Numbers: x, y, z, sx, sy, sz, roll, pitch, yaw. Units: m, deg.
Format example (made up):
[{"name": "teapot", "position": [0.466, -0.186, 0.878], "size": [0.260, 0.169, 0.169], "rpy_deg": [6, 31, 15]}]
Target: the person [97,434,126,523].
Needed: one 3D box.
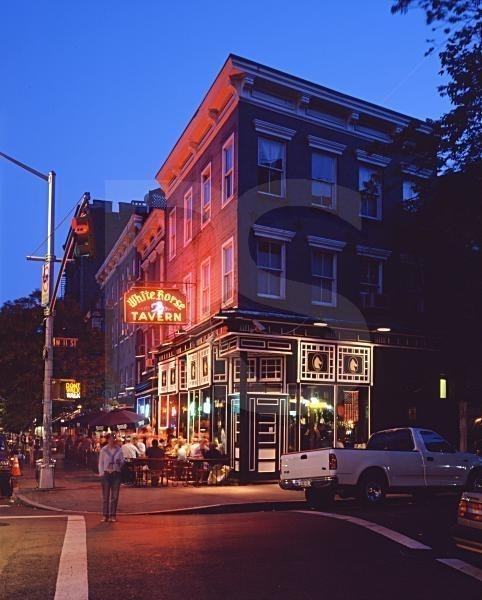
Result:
[{"name": "person", "position": [-2.480, 3.350, 16.837], "size": [0.466, 1.685, 1.554], "rpy_deg": [2, -13, -8]}]

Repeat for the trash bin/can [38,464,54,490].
[{"name": "trash bin/can", "position": [-5.400, 4.921, 24.714], "size": [0.526, 0.866, 0.541], "rpy_deg": [8, -14, -32]}]
